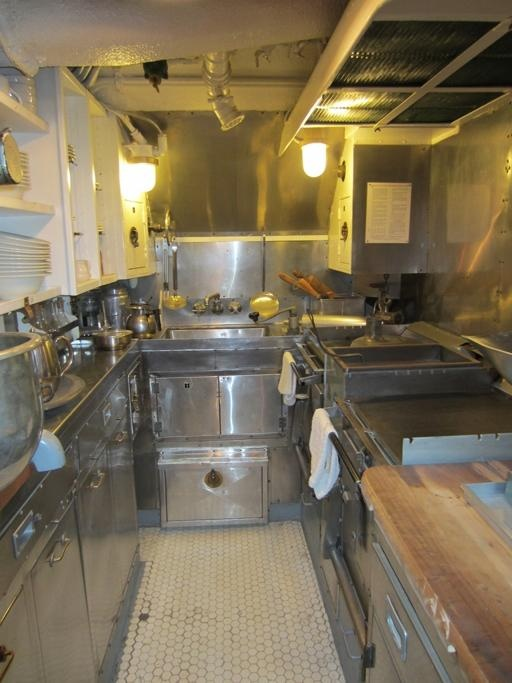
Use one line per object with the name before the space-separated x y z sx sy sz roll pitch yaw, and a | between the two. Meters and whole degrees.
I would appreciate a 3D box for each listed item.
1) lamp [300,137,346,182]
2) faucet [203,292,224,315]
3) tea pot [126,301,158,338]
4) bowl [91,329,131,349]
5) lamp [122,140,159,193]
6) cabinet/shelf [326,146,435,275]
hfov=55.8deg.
lamp | 0.323 -0.900 2.400 0.175 0.205 0.177 -1 16 0
faucet | -0.281 -0.239 3.142 0.124 0.133 0.101 -2 10 -5
tea pot | -0.625 -0.116 2.653 0.188 0.190 0.153 2 12 -7
bowl | -0.671 -0.007 2.272 0.144 0.084 0.189 4 11 23
lamp | -0.556 -0.858 2.395 0.212 0.261 0.211 -2 14 -6
cabinet/shelf | 0.661 -0.690 3.018 0.539 1.018 0.970 4 8 5
